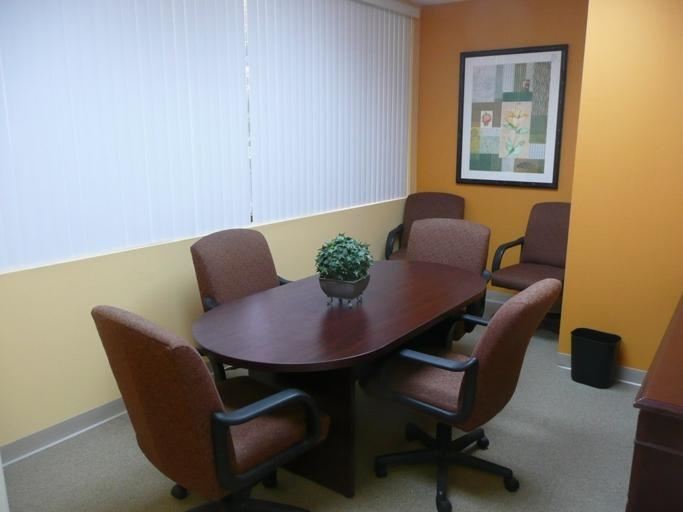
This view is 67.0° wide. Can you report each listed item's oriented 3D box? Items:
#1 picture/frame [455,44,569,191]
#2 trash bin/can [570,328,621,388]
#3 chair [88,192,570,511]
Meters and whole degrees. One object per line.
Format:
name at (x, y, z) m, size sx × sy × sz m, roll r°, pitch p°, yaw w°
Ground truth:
picture/frame at (1.661, -1.356, 4.919) m, size 1.229 × 1.769 × 0.080 m, roll 6°, pitch 11°, yaw 30°
trash bin/can at (1.838, 0.756, 3.727) m, size 0.336 × 0.409 × 0.206 m, roll 5°, pitch 8°, yaw 43°
chair at (0.106, 0.569, 2.609) m, size 1.398 × 0.750 × 1.528 m, roll 11°, pitch 18°, yaw 37°
